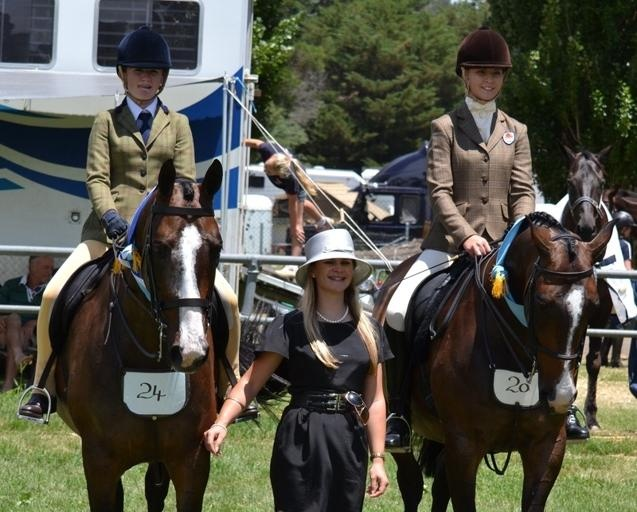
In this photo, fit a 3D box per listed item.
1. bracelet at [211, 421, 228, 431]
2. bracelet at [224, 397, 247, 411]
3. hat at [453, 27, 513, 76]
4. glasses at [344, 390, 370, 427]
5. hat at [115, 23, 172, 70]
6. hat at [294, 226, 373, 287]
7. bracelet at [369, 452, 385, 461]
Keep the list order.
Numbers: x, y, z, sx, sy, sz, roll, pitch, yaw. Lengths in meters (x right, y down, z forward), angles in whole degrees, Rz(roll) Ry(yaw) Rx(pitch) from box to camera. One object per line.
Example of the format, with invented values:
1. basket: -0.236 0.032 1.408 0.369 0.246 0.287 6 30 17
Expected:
1. bracelet: -0.744 1.270 8.403 0.111 0.060 0.183 2 3 -6
2. bracelet: -0.618 1.123 8.483 0.162 0.113 0.121 0 3 -28
3. hat: 1.401 -1.763 9.765 0.313 0.295 0.425 2 -9 -11
4. glasses: 0.284 1.165 8.521 0.105 0.280 0.236 4 4 35
5. hat: -1.425 -1.705 9.169 0.418 0.358 0.228 1 3 -10
6. hat: 0.083 -0.085 8.766 0.470 0.281 0.438 -17 -36 16
7. bracelet: 0.442 1.532 8.536 0.102 0.081 0.176 2 3 0
